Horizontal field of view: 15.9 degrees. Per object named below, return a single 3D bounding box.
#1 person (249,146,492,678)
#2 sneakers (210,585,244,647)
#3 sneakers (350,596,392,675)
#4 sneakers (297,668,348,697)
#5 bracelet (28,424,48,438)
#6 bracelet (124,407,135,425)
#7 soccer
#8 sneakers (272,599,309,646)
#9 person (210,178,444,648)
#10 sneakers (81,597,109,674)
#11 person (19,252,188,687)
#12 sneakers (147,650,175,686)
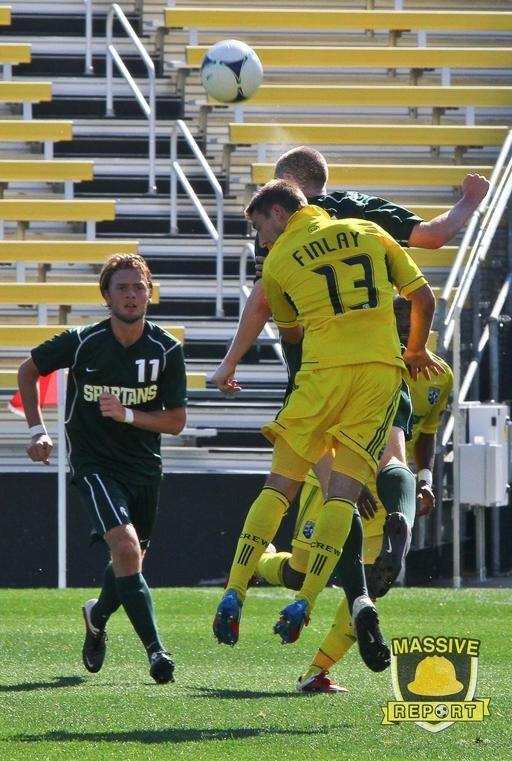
[{"bbox_3d":[0.366,-0.276,8.167,1.226,1.828,0.599,-5,32,-1],"label":"person"},{"bbox_3d":[-0.110,0.903,7.037,0.086,0.225,0.125,7,-39,-4],"label":"sneakers"},{"bbox_3d":[0.471,0.989,7.032,0.104,0.299,0.134,21,39,27],"label":"sneakers"},{"bbox_3d":[0.274,1.242,7.459,0.216,0.108,0.082,2,-1,0],"label":"sneakers"},{"bbox_3d":[-0.924,0.220,7.770,0.078,0.061,0.078,-11,-2,-7],"label":"bracelet"},{"bbox_3d":[-0.525,0.153,7.624,0.041,0.055,0.054,3,-1,-23],"label":"bracelet"},{"bbox_3d":[-0.168,-2.186,13.028,0.422,0.448,0.334,3,0,-2],"label":"soccer"},{"bbox_3d":[0.158,0.938,7.101,0.098,0.167,0.231,3,0,26],"label":"sneakers"},{"bbox_3d":[0.301,0.119,7.273,0.792,1.857,0.646,3,0,2],"label":"person"},{"bbox_3d":[-0.682,1.087,7.755,0.091,0.296,0.114,11,-25,-41],"label":"sneakers"},{"bbox_3d":[-0.591,0.336,7.708,0.899,1.804,0.624,3,0,24],"label":"person"},{"bbox_3d":[-0.374,1.141,7.281,0.061,0.166,0.082,-14,48,-16],"label":"sneakers"}]
